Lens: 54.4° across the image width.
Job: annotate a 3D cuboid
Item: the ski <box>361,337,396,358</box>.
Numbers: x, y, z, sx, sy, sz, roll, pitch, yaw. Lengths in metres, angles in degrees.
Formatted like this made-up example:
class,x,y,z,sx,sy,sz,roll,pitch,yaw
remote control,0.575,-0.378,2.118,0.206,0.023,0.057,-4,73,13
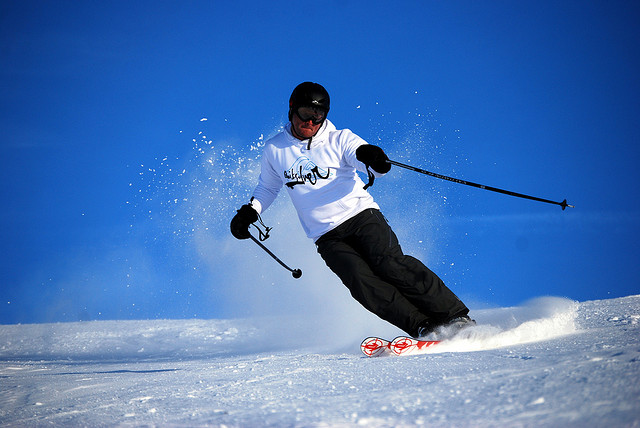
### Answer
class,x,y,z,sx,sy,sz,roll,pitch,yaw
ski,0.424,1.004,4.664,0.204,0.113,0.263,-3,-4,-10

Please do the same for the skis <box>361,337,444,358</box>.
class,x,y,z,sx,sy,sz,roll,pitch,yaw
skis,0.595,0.990,4.629,0.592,0.114,0.160,-5,-5,18

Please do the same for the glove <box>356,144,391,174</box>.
class,x,y,z,sx,sy,sz,roll,pitch,yaw
glove,0.379,-0.408,4.629,0.299,0.252,0.103,-8,-6,41

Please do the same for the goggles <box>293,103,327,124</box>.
class,x,y,z,sx,sy,sz,roll,pitch,yaw
goggles,-0.074,-0.798,4.976,0.262,0.175,0.129,-3,-4,-11
